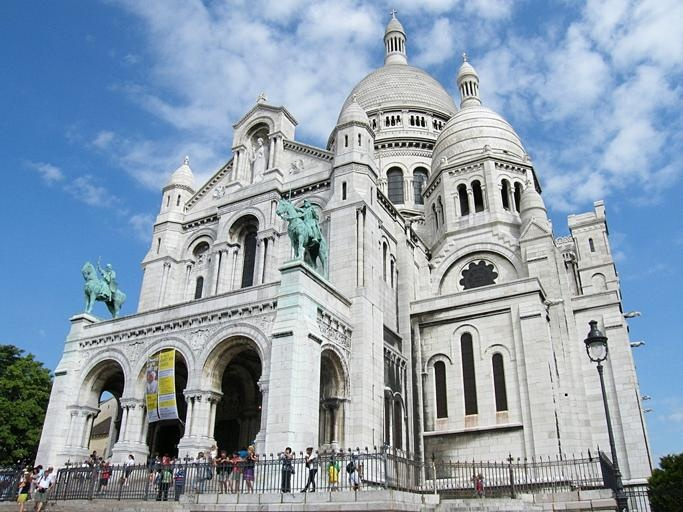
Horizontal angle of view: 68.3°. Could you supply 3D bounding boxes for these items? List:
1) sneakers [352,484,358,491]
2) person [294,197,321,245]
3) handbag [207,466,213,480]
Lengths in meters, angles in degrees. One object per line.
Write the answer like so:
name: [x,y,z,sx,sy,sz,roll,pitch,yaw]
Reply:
sneakers: [0.543,8.802,19.331,0.157,0.271,0.250,-4,-15,22]
person: [-1.805,-2.021,28.881,0.535,2.610,1.492,-15,-31,26]
handbag: [-5.384,8.802,20.608,0.258,0.455,0.872,6,-29,-11]
